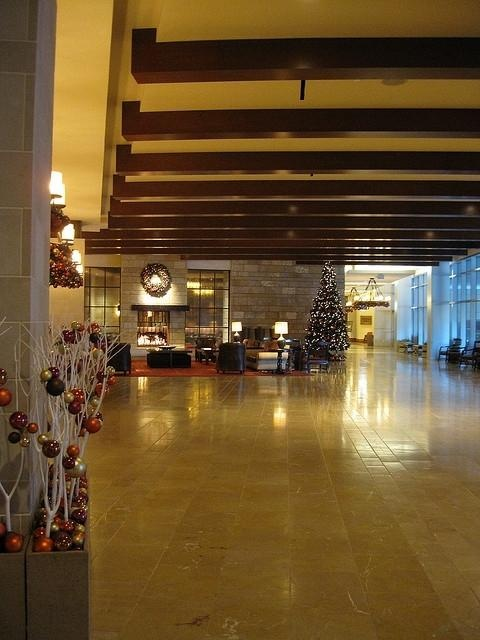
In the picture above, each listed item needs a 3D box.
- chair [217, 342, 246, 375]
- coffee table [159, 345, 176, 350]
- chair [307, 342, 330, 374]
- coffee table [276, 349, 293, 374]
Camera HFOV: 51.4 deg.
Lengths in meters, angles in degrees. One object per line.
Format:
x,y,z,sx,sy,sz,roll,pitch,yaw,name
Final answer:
-0.193,0.953,12.618,0.656,0.785,0.710,1,5,-3,chair
-2.140,0.839,14.660,0.411,0.125,1.080,1,-2,-11,coffee table
2.420,1.180,15.721,0.894,1.280,0.935,1,-4,-2,chair
1.109,1.090,13.124,0.558,0.567,0.563,-2,3,-42,coffee table
